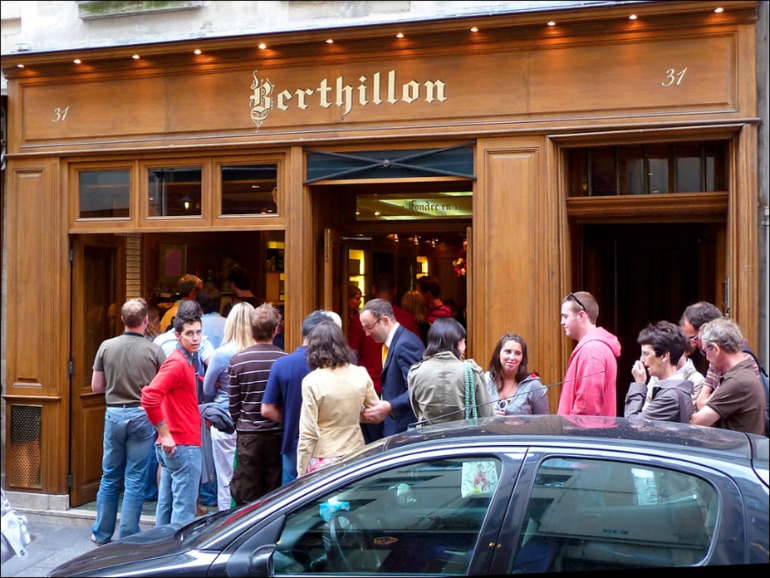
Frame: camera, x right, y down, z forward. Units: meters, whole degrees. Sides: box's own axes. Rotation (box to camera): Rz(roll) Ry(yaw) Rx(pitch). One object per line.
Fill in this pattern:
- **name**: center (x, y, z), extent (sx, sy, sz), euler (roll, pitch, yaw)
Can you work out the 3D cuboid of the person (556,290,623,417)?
- **person**: center (1.606, 0.517, 7.349), extent (0.499, 0.746, 0.717), euler (-3, -1, 13)
